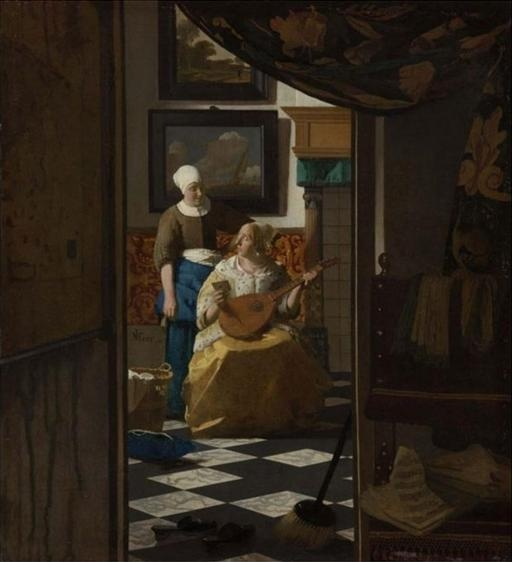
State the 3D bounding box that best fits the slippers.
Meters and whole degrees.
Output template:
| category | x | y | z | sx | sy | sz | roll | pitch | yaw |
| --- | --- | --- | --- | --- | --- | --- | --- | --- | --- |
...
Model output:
| category | x | y | z | sx | sy | sz | roll | pitch | yaw |
| --- | --- | --- | --- | --- | --- | --- | --- | --- | --- |
| slippers | -0.177 | 0.858 | 3.435 | 0.367 | 0.116 | 0.125 | 5 | -19 | -4 |
